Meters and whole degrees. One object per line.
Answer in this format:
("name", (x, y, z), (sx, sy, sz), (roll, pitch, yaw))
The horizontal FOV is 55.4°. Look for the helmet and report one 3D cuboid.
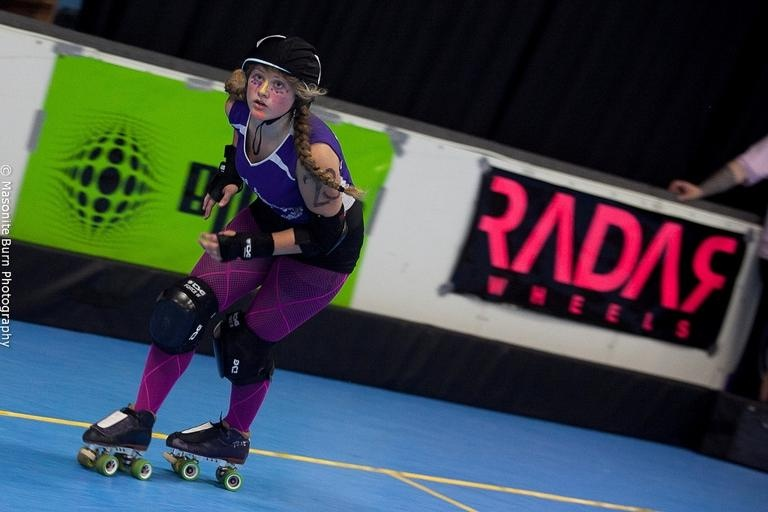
("helmet", (-0.557, -1.108, 4.102), (0.432, 0.283, 0.182), (20, 1, -11))
